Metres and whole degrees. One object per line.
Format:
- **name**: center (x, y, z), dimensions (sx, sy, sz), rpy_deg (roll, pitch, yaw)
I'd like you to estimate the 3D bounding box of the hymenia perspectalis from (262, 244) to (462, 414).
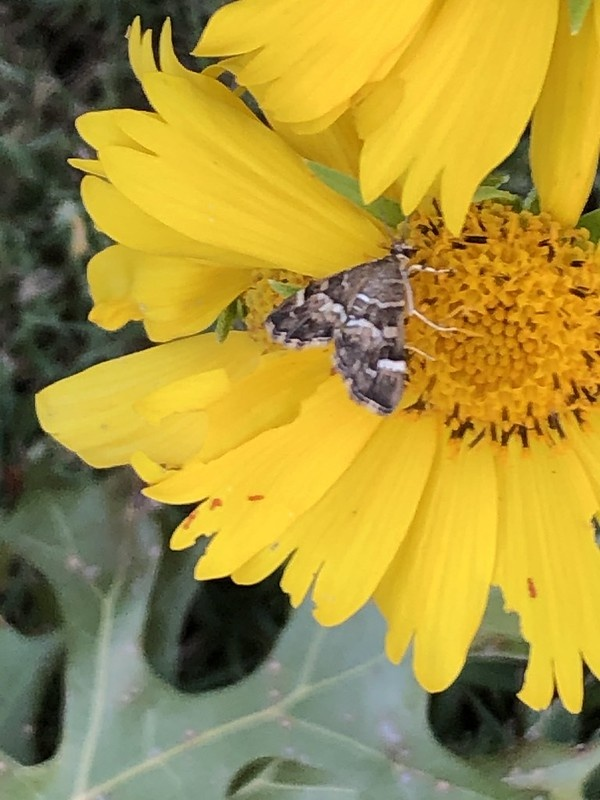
- **hymenia perspectalis**: center (0.042, -0.035, 0.572), dimensions (0.102, 0.133, 0.062), rpy_deg (-17, 30, -28)
